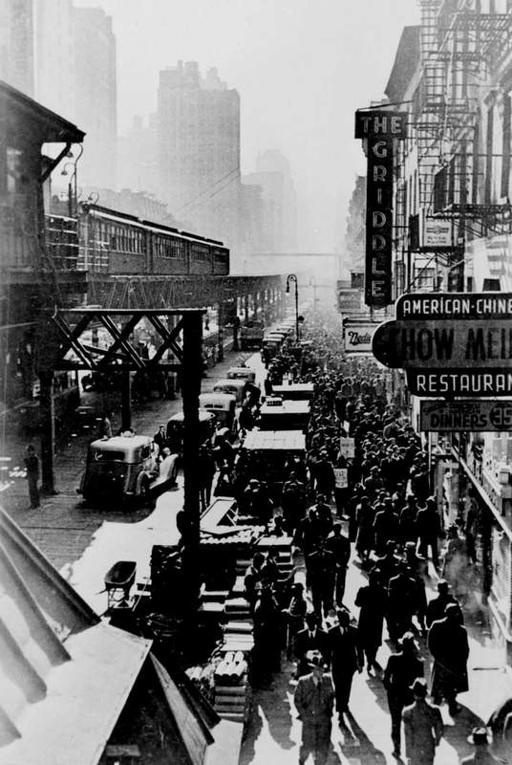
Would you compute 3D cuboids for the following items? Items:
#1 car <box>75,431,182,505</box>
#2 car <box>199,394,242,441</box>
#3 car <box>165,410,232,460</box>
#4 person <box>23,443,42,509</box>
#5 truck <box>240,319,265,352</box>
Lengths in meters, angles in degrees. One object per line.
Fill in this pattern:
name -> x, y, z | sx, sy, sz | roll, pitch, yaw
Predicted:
car -> -2.988, 1.866, 20.466 | 1.088, 1.360, 2.449 | 1, 13, 12
car -> -1.231, 1.083, 27.301 | 0.695, 1.060, 1.706 | 2, 12, 5
car -> -1.817, 1.416, 24.564 | 1.004, 1.393, 2.043 | 2, 13, 14
person -> -5.183, 2.145, 19.446 | 0.299, 1.455, 0.817 | -4, 7, -17
truck -> -0.406, -4.107, 71.780 | 1.354, 2.319, 3.123 | 1, 14, 3
